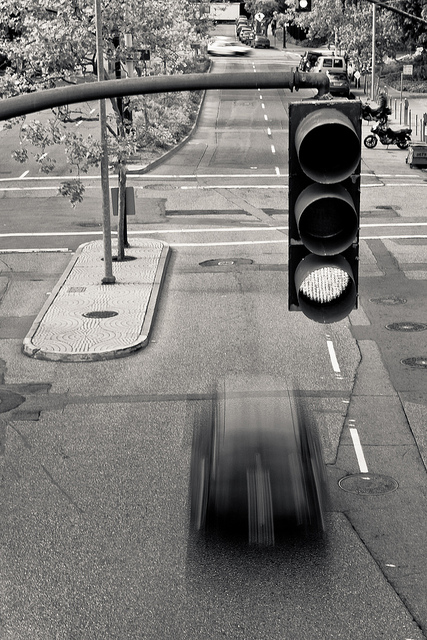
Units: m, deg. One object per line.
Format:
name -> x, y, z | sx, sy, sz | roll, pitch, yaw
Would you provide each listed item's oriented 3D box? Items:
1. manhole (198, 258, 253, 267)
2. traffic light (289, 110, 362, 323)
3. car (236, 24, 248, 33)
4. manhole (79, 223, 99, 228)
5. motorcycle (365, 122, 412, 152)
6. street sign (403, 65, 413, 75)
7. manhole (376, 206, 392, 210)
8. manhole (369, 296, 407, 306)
manhole -> 0.472, -2.023, 18.070 | 1.738, 0.316, 0.924 | -1, 4, 4
traffic light -> 0.434, -0.384, 1.992 | 0.278, 0.823, 0.651 | 0, 3, 9
car -> 6.647, -70.384, 123.905 | 2.379, 2.299, 4.690 | -1, 28, -1
manhole -> -5.399, -4.114, 22.413 | 0.804, 0.200, 0.513 | -2, 4, -4
motorcycle -> 12.689, -13.545, 37.852 | 2.712, 2.051, 1.720 | 1, 33, 1
street sign -> 19.067, -24.652, 50.488 | 0.735, 1.211, 1.330 | 0, 4, 19
manhole -> 8.123, -5.324, 24.475 | 0.732, 0.222, 0.574 | -1, 4, 6
manhole -> 4.973, -0.539, 14.603 | 0.976, 0.236, 0.757 | 0, 5, 16
